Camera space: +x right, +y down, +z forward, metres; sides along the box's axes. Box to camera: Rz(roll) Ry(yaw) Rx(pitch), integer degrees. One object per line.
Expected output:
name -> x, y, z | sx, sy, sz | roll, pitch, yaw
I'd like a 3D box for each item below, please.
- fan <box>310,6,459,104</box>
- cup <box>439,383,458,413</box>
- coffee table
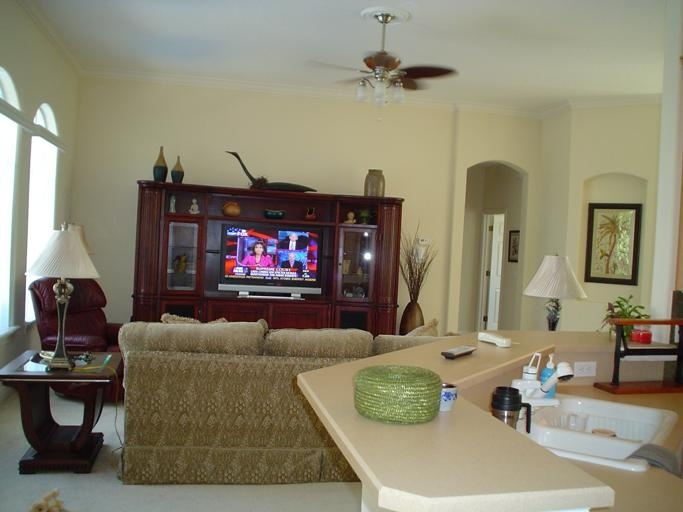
fan -> 0.429, -1.662, 4.779 | 1.105, 0.583, 1.083 | 1, 7, 8
cup -> 0.408, 0.547, 2.075 | 0.091, 0.082, 0.097 | 1, 5, 0
coffee table -> -2.006, 1.125, 4.118 | 0.875, 0.728, 0.845 | 1, 8, -9
